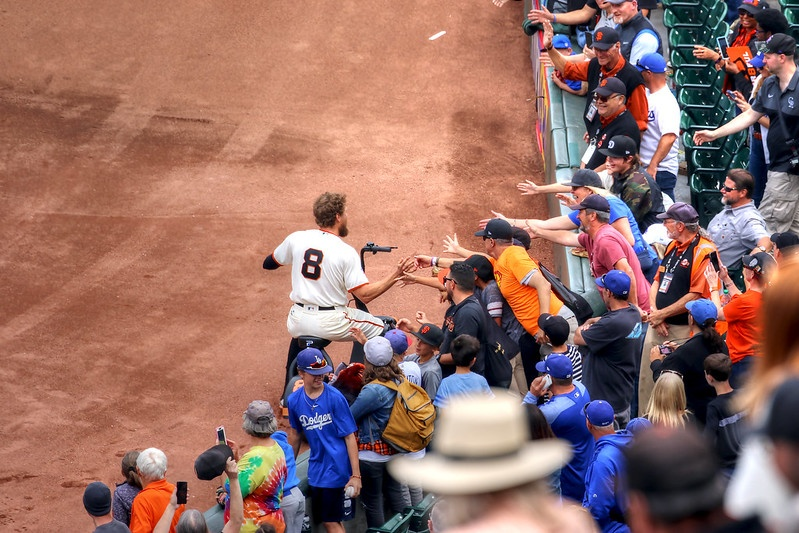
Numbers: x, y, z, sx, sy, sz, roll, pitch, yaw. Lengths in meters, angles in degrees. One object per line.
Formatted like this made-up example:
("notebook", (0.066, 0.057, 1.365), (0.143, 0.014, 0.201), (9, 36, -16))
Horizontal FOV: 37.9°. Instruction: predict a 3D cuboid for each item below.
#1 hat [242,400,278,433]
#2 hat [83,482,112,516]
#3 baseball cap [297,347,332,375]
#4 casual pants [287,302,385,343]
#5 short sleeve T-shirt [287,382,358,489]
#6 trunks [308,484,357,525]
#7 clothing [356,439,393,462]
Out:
("hat", (-1.703, 1.733, 14.105), (0.363, 0.240, 0.468), (-2, 8, -14))
("hat", (-3.580, 2.708, 13.788), (0.402, 0.295, 0.542), (0, 19, -14))
("baseball cap", (-1.068, 1.182, 14.343), (0.417, 0.162, 0.284), (16, 29, 28))
("casual pants", (-0.847, 0.725, 16.743), (1.508, 0.497, 1.473), (5, 9, -3))
("short sleeve T-shirt", (-0.911, 2.151, 14.647), (0.964, 1.239, 0.489), (-6, 1, 28))
("trunks", (-0.779, 2.915, 14.736), (0.386, 0.520, 0.607), (1, -6, -27))
("clothing", (-0.327, 2.324, 14.641), (0.583, 0.261, 0.408), (3, -9, 1))
